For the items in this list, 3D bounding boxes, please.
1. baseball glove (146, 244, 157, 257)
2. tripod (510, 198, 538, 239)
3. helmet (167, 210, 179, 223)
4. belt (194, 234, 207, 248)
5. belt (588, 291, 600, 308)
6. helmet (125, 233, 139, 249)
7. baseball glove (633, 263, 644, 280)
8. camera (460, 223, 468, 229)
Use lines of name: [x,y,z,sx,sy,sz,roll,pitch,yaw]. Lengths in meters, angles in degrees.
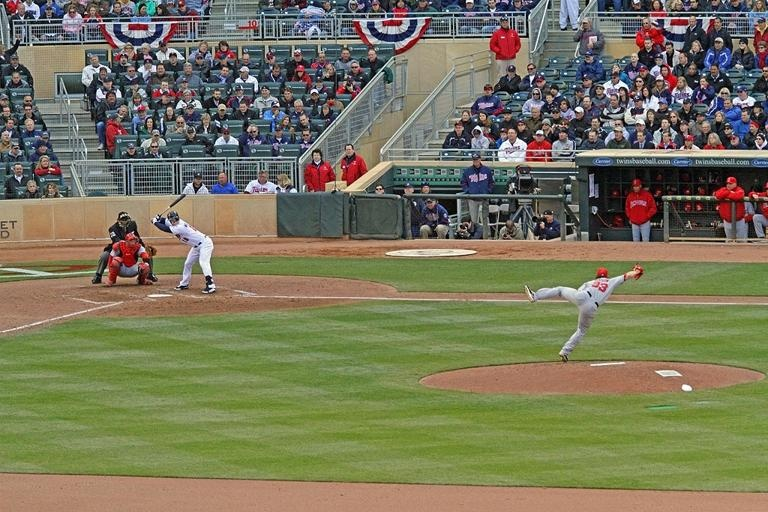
baseball glove: [-6.238,-0.169,45.563,0.351,0.307,0.387,2,-5,3]
tripod: [4.145,-1.114,51.390,0.791,1.186,0.611,-1,5,-17]
helmet: [-5.420,-0.991,44.368,0.304,0.296,0.349,0,5,-6]
belt: [-4.748,-0.417,44.572,0.315,0.328,0.190,-1,5,-9]
belt: [4.599,0.916,37.804,0.083,0.298,0.226,-35,18,-7]
helmet: [-6.547,-0.389,44.996,0.398,0.424,0.306,-1,5,-16]
baseball glove: [5.827,0.342,40.015,0.228,0.211,0.584,3,25,14]
camera: [2.316,-0.898,51.449,0.220,0.163,0.171,0,5,-1]
